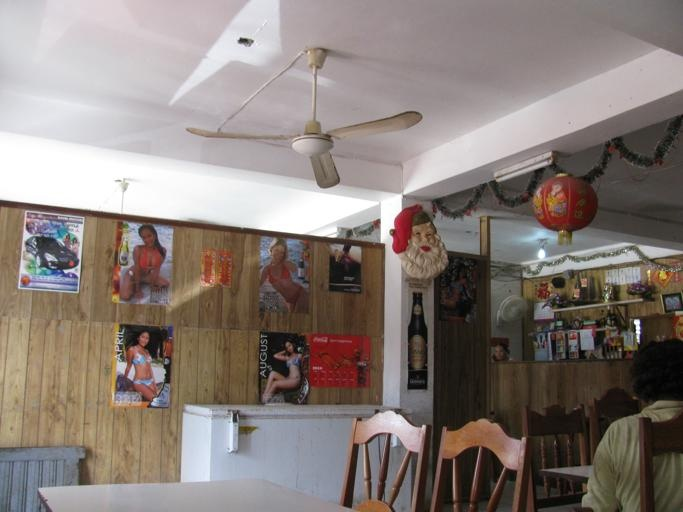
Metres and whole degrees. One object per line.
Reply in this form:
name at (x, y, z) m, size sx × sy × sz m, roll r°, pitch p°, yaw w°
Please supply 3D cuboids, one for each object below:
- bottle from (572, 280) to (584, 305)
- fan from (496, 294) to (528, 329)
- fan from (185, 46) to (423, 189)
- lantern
bottle at (4.006, 0.587, 9.444) m, size 0.113 × 0.444 × 0.268 m, roll 6°, pitch -11°, yaw -32°
fan at (2.851, 0.867, 9.452) m, size 0.454 × 0.529 × 1.240 m, roll -2°, pitch -10°, yaw 14°
fan at (-0.321, -1.119, 4.145) m, size 1.218 × 0.812 × 1.810 m, roll 6°, pitch -10°, yaw -21°
lantern at (1.706, -0.335, 4.430) m, size 0.482 × 0.598 × 0.513 m, roll 5°, pitch -6°, yaw -40°
